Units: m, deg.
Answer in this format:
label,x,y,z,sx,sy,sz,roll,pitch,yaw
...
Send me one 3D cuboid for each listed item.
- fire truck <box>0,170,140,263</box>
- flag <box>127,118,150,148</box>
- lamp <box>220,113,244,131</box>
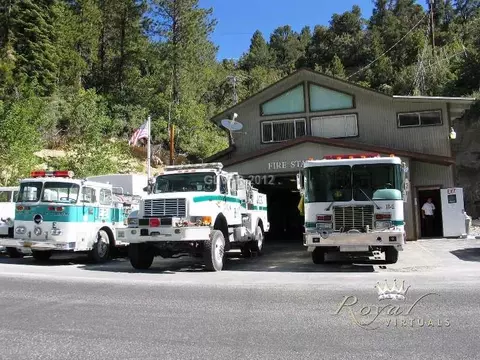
label,x,y,z,sx,sy,sz,roll,pitch,yaw
fire truck,-6.181,1.389,18.720,3.087,3.396,5.986,-1,-1,29
flag,-5.839,-2.854,27.609,1.004,1.590,2.638,-1,-1,-14
lamp,-0.491,-3.453,28.119,1.287,1.166,2.837,-1,0,0
